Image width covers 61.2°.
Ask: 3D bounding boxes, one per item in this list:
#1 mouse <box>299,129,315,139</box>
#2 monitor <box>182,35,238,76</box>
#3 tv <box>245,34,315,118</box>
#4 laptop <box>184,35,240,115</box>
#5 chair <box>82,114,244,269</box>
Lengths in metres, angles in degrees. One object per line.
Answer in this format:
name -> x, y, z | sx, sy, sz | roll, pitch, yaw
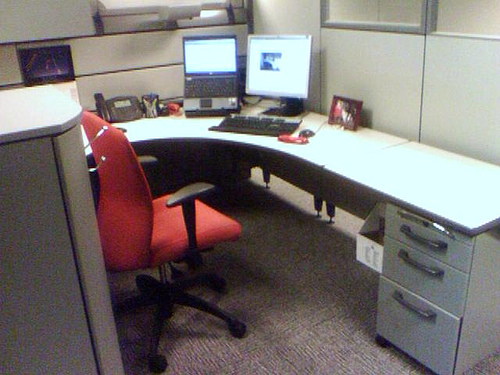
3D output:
mouse -> 0.342, -0.320, 2.498 | 0.055, 0.027, 0.079 | 6, 20, 16
monitor -> -0.290, -0.884, 2.913 | 0.395, 0.295, 0.251 | -1, 19, 2
tv -> 0.209, -0.764, 2.878 | 0.470, 0.509, 0.264 | 11, 25, 31
laptop -> -0.269, -0.887, 2.900 | 0.393, 0.392, 0.336 | -2, 5, 2
chair -> -0.464, -0.026, 2.146 | 0.614, 0.802, 0.700 | -9, 25, -24
